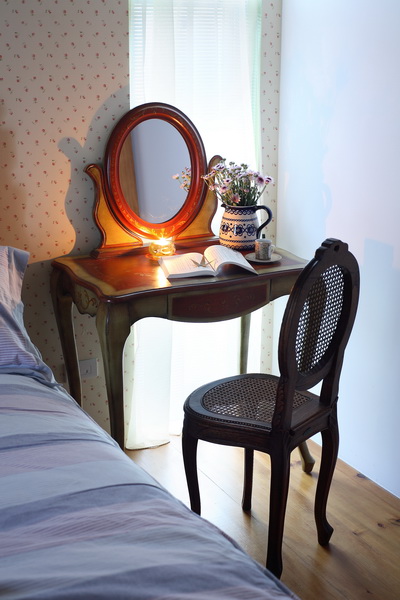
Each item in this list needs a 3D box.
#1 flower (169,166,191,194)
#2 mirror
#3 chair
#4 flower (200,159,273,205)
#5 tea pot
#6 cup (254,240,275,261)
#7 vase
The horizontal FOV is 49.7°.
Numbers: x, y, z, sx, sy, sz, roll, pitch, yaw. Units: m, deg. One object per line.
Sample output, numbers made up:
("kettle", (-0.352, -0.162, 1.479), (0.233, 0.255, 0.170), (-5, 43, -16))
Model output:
("flower", (-0.078, -0.539, 1.954), (0.088, 0.143, 0.089), (-13, 38, -16))
("mirror", (-0.213, -0.546, 1.833), (0.519, 0.695, 0.050), (-10, 15, -32))
("chair", (0.202, 0.294, 1.314), (0.425, 0.972, 0.433), (7, 12, 35))
("flower", (0.163, -0.464, 1.836), (0.247, 0.164, 0.204), (3, 16, 29))
("tea pot", (0.200, -0.311, 1.855), (0.236, 0.191, 0.152), (3, 14, 4))
("cup", (0.255, -0.198, 1.714), (0.053, 0.066, 0.088), (-5, 22, -16))
("vase", (0.202, -0.313, 1.886), (0.250, 0.197, 0.155), (-6, 15, -30))
